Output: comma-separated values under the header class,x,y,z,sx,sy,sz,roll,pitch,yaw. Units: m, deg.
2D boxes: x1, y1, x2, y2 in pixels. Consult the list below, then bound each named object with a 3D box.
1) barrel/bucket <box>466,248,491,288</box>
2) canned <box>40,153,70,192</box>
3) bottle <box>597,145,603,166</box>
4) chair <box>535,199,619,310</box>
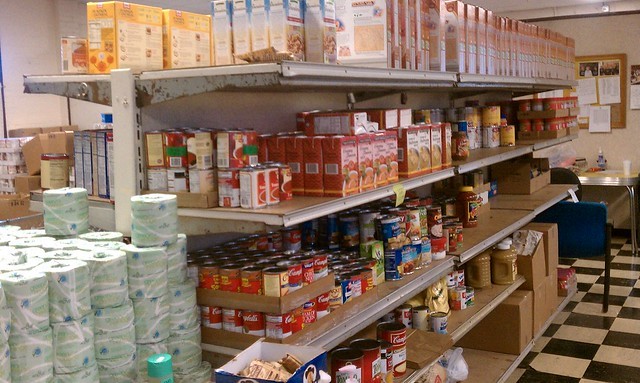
class,x,y,z,sx,sy,sz,roll,pitch,yaw
barrel/bucket,1.485,0.708,4.685,0.265,0.376,0.238,-4,0,1
canned,-1.757,-0.124,3.417,0.217,0.197,0.199,-1,3,-25
bottle,4.684,-0.579,8.433,0.104,0.288,0.261,2,14,29
chair,2.918,0.623,5.706,0.798,0.881,0.712,7,-18,6
